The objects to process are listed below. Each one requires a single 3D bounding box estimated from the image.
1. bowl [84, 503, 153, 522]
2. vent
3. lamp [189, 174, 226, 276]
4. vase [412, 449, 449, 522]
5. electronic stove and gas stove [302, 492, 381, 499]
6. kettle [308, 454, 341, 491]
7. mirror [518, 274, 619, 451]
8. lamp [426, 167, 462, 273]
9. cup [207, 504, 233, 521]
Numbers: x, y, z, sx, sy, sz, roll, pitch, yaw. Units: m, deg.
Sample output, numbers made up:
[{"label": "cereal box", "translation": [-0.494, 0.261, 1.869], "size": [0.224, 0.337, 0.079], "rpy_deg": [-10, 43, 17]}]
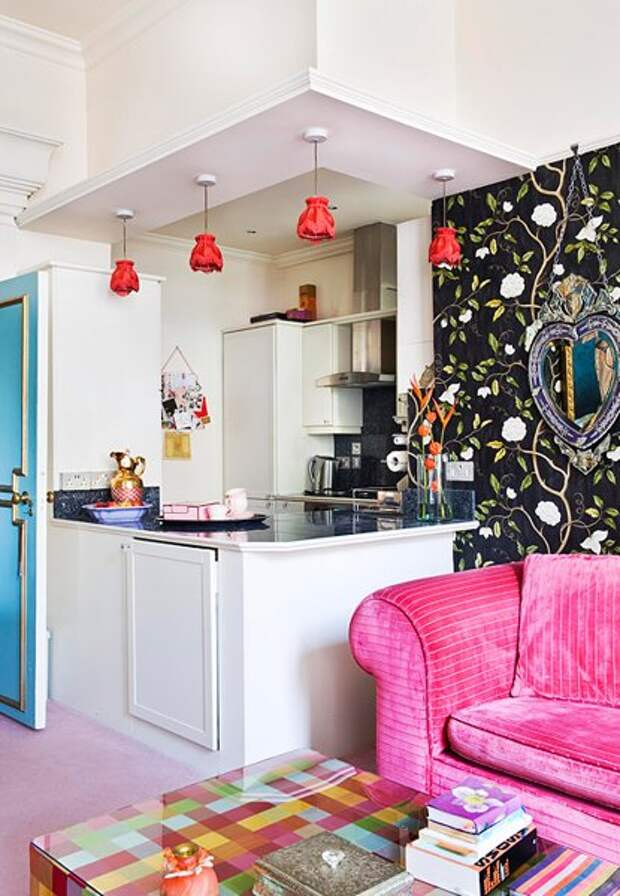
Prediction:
[{"label": "bowl", "translation": [-0.807, 0.280, 3.292], "size": [0.236, 0.067, 0.243], "rpy_deg": [0, -1, 0]}, {"label": "vent", "translation": [0.414, -0.996, 5.228], "size": [0.390, 1.077, 0.335], "rpy_deg": [-1, -2, 20]}, {"label": "lamp", "translation": [-0.427, -0.926, 3.201], "size": [0.184, 0.378, 0.181], "rpy_deg": [1, 1, 41]}, {"label": "vase", "translation": [0.500, 0.157, 3.178], "size": [0.126, 0.279, 0.281], "rpy_deg": [0, -1, 10]}, {"label": "electronic stove and gas stove", "translation": [0.187, 0.321, 5.294], "size": [0.513, 0.060, 0.550], "rpy_deg": [0, -1, 6]}, {"label": "kettle", "translation": [0.097, 0.195, 5.657], "size": [0.232, 0.266, 0.490], "rpy_deg": [0, -1, 0]}, {"label": "mirror", "translation": [1.008, -0.325, 2.937], "size": [0.110, 0.675, 0.490], "rpy_deg": [1, -2, -23]}, {"label": "lamp", "translation": [0.578, -0.956, 3.335], "size": [0.122, 0.401, 0.416], "rpy_deg": [0, -1, 11]}, {"label": "cup", "translation": [-0.349, 0.245, 2.962], "size": [0.102, 0.057, 0.111], "rpy_deg": [0, -1, 0]}]
